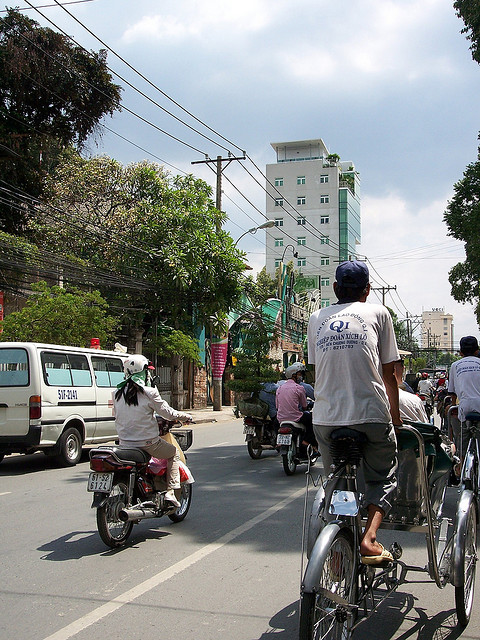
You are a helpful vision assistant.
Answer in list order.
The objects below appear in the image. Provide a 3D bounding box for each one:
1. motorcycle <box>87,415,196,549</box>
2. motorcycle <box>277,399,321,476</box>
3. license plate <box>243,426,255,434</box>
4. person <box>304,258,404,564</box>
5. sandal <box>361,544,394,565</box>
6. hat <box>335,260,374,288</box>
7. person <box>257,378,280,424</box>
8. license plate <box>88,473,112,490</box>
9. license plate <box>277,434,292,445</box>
[{"bbox_3d":[-0.799,1.407,5.980,0.678,1.111,1.804,-3,-7,18],"label":"motorcycle"},{"bbox_3d":[0.821,1.944,9.792,0.677,0.820,0.365,3,-7,-29],"label":"motorcycle"},{"bbox_3d":[0.162,2.038,11.914,0.206,0.139,0.151,-2,-6,12],"label":"license plate"},{"bbox_3d":[0.545,0.410,3.263,0.540,1.668,1.266,-2,-6,14],"label":"person"},{"bbox_3d":[0.613,1.035,2.874,0.169,0.057,0.063,0,2,-34],"label":"sandal"},{"bbox_3d":[0.571,-0.246,3.273,0.162,0.162,0.271,-1,-6,9],"label":"hat"},{"bbox_3d":[0.510,1.537,11.932,0.372,0.737,0.813,0,-6,1],"label":"person"},{"bbox_3d":[-1.148,1.310,5.217,0.194,0.123,0.077,-2,-6,16],"label":"license plate"},{"bbox_3d":[0.671,1.791,9.641,0.162,0.111,0.022,1,-2,12],"label":"license plate"}]
